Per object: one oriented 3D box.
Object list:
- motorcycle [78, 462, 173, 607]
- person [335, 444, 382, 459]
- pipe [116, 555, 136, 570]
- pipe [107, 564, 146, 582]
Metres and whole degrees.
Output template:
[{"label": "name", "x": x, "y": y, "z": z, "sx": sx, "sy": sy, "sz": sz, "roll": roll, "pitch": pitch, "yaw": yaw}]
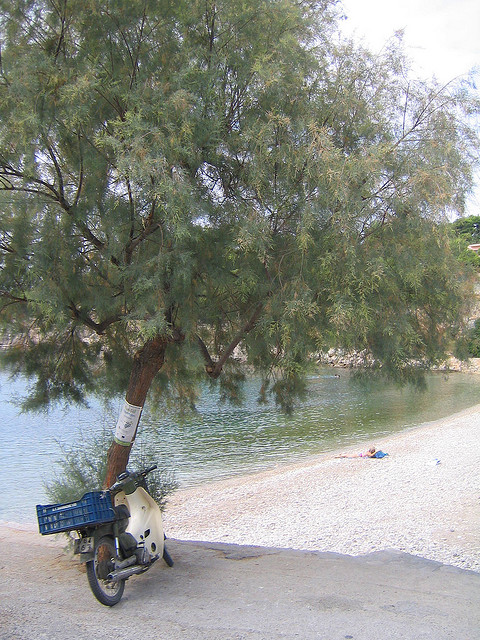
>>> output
[{"label": "motorcycle", "x": -1.095, "y": 1.943, "z": 5.664, "sx": 0.462, "sy": 1.122, "sz": 1.719, "roll": -19, "pitch": -14, "yaw": 10}, {"label": "person", "x": 3.333, "y": 3.755, "z": 17.306, "sx": 1.038, "sy": 0.312, "sz": 1.522, "roll": 0, "pitch": -9, "yaw": 2}, {"label": "pipe", "x": -1.003, "y": 2.125, "z": 5.304, "sx": 0.046, "sy": 0.066, "sz": 0.182, "roll": 7, "pitch": 18, "yaw": 37}, {"label": "pipe", "x": -0.994, "y": 2.172, "z": 5.258, "sx": 0.085, "sy": 0.085, "sz": 0.405, "roll": 7, "pitch": -3, "yaw": 27}]
